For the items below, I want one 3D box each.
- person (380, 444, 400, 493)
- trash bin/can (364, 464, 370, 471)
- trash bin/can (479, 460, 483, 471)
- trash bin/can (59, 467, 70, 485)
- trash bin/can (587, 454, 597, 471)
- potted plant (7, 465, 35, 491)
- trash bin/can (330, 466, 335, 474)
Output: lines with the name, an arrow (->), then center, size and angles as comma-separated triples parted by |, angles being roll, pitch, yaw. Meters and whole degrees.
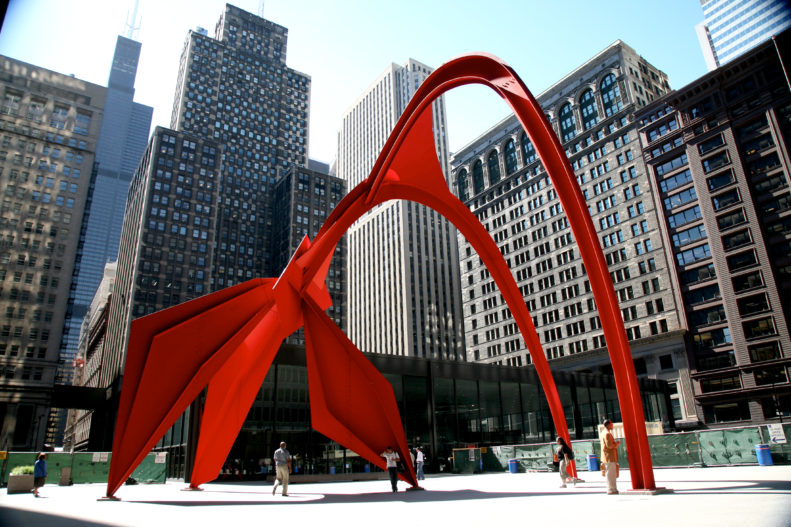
person -> -0.174, 8.539, 20.941 | 0.713, 1.741, 1.302 | -1, -23, -1
trash bin/can -> -1.799, 13.379, 33.130 | 0.436, 0.521, 0.366 | 13, -27, -30
trash bin/can -> 5.772, 13.530, 33.942 | 0.281, 0.572, 0.752 | -7, -23, 12
trash bin/can -> -19.529, 12.531, 29.830 | 0.535, 1.017, 0.527 | 7, -25, -20
trash bin/can -> 10.811, 10.855, 27.555 | 0.549, 0.862, 0.785 | -10, -24, 18
potted plant -> -19.226, 11.071, 25.942 | 1.077, 1.246, 2.905 | 13, -27, -32
trash bin/can -> -4.065, 13.412, 32.847 | 0.333, 0.596, 0.441 | 6, -14, -23
